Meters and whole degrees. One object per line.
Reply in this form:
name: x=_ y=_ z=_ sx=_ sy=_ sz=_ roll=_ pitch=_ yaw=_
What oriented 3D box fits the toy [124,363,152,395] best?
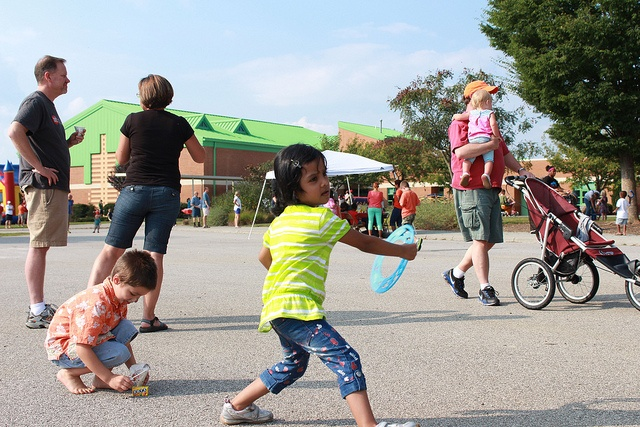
toy: x=-1.535 y=1.416 z=4.971 sx=0.153 sy=0.265 sz=0.094 roll=-11 pitch=6 yaw=-7

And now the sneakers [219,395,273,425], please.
sneakers: x=-0.571 y=1.571 z=4.634 sx=0.431 sy=0.187 sz=0.162 roll=1 pitch=-1 yaw=-16

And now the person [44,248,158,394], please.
person: x=-1.734 y=0.920 z=5.504 sx=1.175 sy=1.439 sz=1.048 roll=2 pitch=2 yaw=-3

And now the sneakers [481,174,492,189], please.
sneakers: x=2.135 y=-0.393 z=7.442 sx=0.085 sy=0.203 sz=0.086 roll=-8 pitch=44 yaw=20

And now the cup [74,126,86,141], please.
cup: x=-2.822 y=-0.947 z=6.890 sx=0.129 sy=0.112 sz=0.142 roll=1 pitch=1 yaw=33

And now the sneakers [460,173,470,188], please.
sneakers: x=1.873 y=-0.425 z=7.498 sx=0.096 sy=0.178 sz=0.075 roll=3 pitch=21 yaw=-2

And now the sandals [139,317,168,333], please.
sandals: x=-1.834 y=1.238 z=6.458 sx=0.285 sy=0.130 sz=0.129 roll=-1 pitch=2 yaw=-42

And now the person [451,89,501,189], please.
person: x=2.083 y=-1.031 z=7.645 sx=0.535 sy=1.401 sz=0.624 roll=1 pitch=7 yaw=15

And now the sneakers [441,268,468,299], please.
sneakers: x=1.890 y=0.957 z=8.052 sx=0.247 sy=0.508 sz=0.183 roll=-36 pitch=-2 yaw=18

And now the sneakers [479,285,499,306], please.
sneakers: x=2.188 y=1.079 z=7.491 sx=0.138 sy=0.146 sz=0.342 roll=-1 pitch=0 yaw=-13
